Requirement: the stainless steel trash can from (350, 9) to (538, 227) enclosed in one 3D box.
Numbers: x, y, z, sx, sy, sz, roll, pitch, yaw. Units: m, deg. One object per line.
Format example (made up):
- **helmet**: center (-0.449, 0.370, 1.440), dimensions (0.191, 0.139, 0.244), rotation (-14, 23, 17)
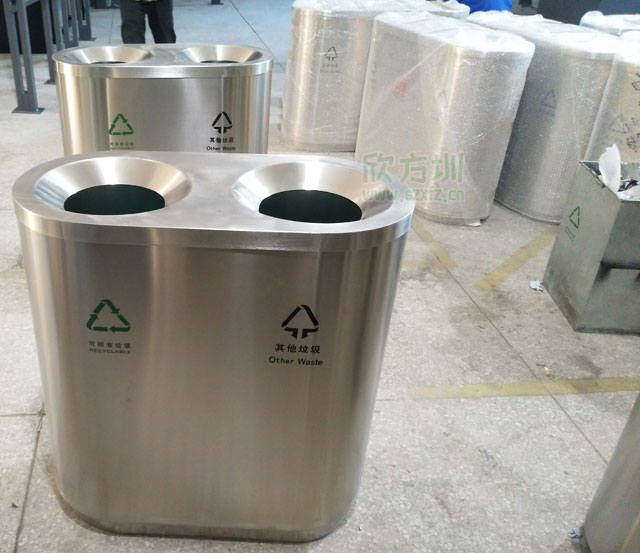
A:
- **stainless steel trash can**: center (0.766, -1.045, 4.082), dimensions (0.472, 1.222, 1.017), rotation (-15, 36, -28)
